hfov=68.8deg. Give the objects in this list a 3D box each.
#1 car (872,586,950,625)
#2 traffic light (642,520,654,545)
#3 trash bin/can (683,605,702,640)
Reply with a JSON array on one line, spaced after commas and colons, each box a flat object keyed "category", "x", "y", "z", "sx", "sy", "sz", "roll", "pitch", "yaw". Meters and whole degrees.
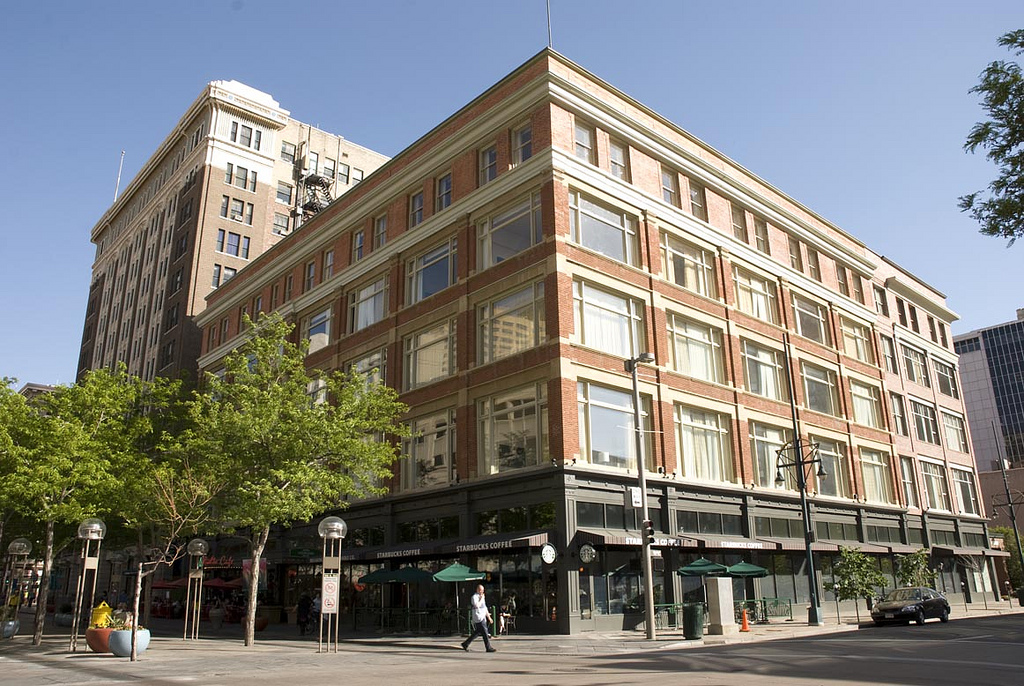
[{"category": "car", "x": 20.981, "y": 13.946, "z": 39.615, "sx": 4.889, "sy": 1.853, "sz": 1.616, "roll": 14, "pitch": -27, "yaw": -33}, {"category": "traffic light", "x": 6.058, "y": 8.550, "z": 33.602, "sx": 0.431, "sy": 1.084, "sz": 0.485, "roll": -1, "pitch": -24, "yaw": -2}, {"category": "trash bin/can", "x": 8.061, "y": 12.468, "z": 33.377, "sx": 0.817, "sy": 1.518, "sz": 0.612, "roll": -4, "pitch": -24, "yaw": 5}]
